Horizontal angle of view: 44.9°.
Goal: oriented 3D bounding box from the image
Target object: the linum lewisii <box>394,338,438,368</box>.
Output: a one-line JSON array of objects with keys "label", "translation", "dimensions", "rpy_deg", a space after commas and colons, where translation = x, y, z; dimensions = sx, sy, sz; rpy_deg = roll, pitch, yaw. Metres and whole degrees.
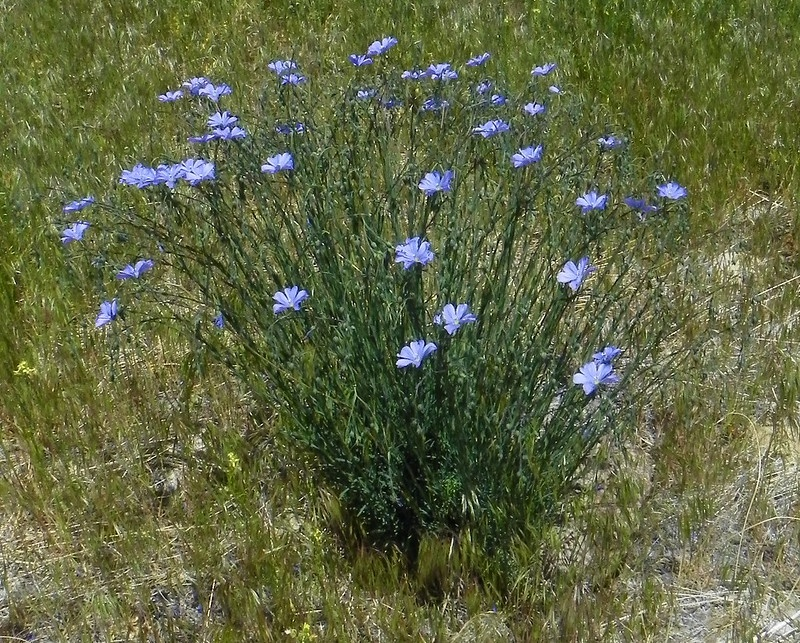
[{"label": "linum lewisii", "translation": [0.052, 0.100, 2.759], "dimensions": [0.074, 0.033, 0.100], "rpy_deg": [-5, 57, 24]}]

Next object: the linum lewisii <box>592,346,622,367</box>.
[{"label": "linum lewisii", "translation": [0.632, 0.122, 2.944], "dimensions": [0.059, 0.029, 0.060], "rpy_deg": [-36, 23, -30]}]
